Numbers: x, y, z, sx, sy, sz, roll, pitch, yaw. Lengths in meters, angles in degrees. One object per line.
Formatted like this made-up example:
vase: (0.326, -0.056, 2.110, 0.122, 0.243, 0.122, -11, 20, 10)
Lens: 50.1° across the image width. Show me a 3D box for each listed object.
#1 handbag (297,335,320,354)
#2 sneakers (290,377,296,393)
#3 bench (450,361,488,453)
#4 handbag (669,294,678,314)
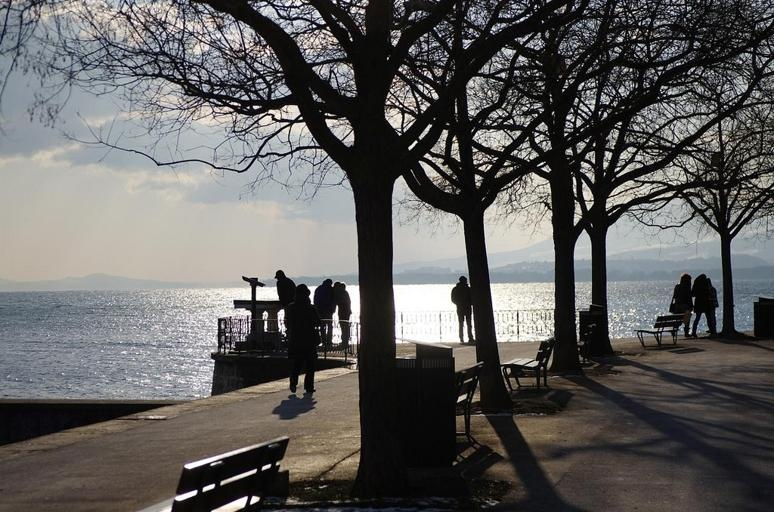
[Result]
handbag: (-1.909, 2.171, 20.442, 0.455, 0.467, 0.850, 1, -3, 0)
sneakers: (-2.303, 3.148, 20.396, 0.141, 0.417, 0.162, 4, -7, -3)
bench: (1.571, 2.984, 16.125, 0.690, 1.160, 1.702, 1, 1, 25)
handbag: (10.904, 1.879, 31.876, 0.151, 0.658, 0.915, -2, -5, 15)
